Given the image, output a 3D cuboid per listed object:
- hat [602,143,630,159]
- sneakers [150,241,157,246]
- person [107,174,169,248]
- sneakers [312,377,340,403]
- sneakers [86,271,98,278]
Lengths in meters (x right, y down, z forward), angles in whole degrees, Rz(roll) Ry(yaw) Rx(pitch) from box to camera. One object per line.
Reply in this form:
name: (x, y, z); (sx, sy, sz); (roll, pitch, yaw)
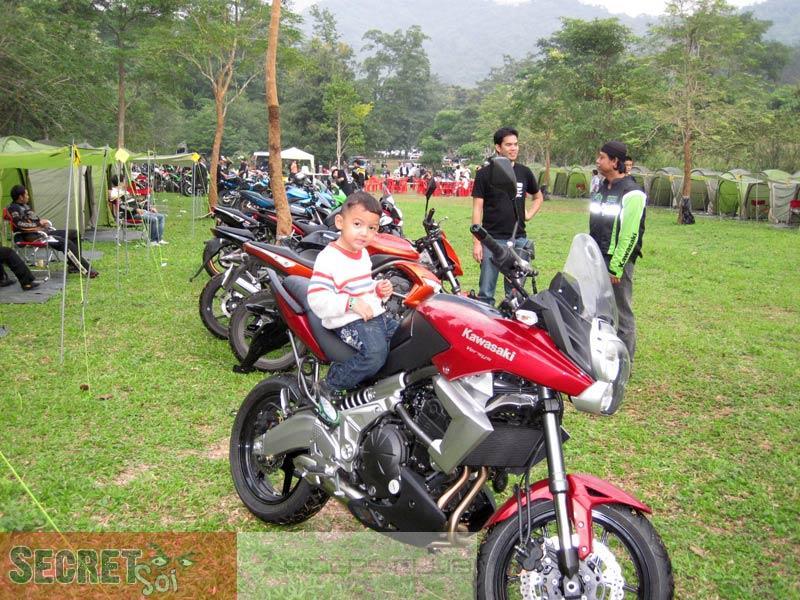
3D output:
hat: (2.235, -1.570, 6.113); (0.240, 0.134, 0.182); (25, 24, -5)
sneakers: (-5.782, -1.319, 13.734); (0.112, 0.057, 0.177); (6, 11, -7)
person: (-6.457, -2.189, 14.414); (1.096, 1.736, 0.768); (-5, 13, -18)
sneakers: (-0.462, 0.568, 3.708); (0.207, 0.115, 0.095); (25, 5, 30)
sneakers: (-5.230, -0.422, 9.950); (0.160, 0.077, 0.070); (9, -5, 27)
